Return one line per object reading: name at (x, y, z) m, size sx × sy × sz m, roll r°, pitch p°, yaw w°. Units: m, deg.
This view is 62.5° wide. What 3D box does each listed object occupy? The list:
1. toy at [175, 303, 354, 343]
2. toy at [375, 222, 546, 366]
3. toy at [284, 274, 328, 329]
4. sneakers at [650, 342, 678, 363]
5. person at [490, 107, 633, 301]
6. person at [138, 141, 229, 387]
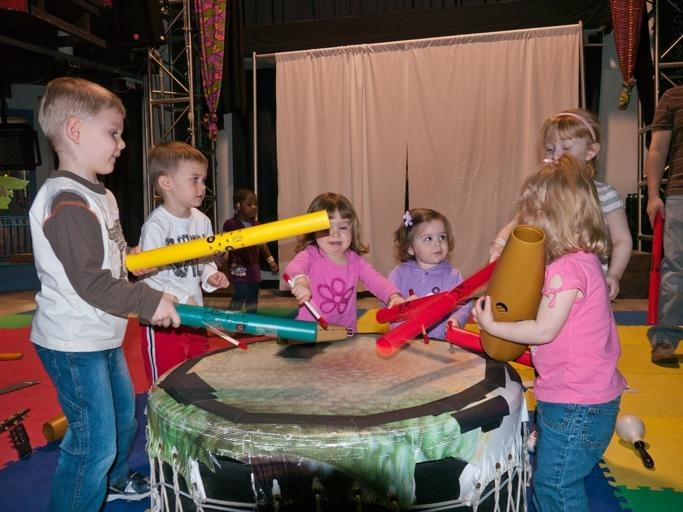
toy at (-0.238, 0.219, 1.812) m, size 0.538 × 0.153 × 0.234 m, roll 0°, pitch 4°, yaw 1°
toy at (0.376, 0.135, 1.752) m, size 0.454 × 0.284 × 0.369 m, roll -8°, pitch 37°, yaw 17°
toy at (-0.143, 0.185, 2.304) m, size 0.045 × 0.332 × 0.039 m, roll -38°, pitch -14°, yaw 9°
sneakers at (1.743, 0.527, 3.007) m, size 0.072 × 0.088 × 0.190 m, roll 0°, pitch -8°, yaw 5°
person at (0.903, -0.191, 2.265) m, size 0.462 × 0.783 × 0.550 m, roll -14°, pitch 16°, yaw -40°
person at (-0.673, 0.176, 2.414) m, size 0.363 × 1.256 × 0.386 m, roll 5°, pitch 11°, yaw 10°
